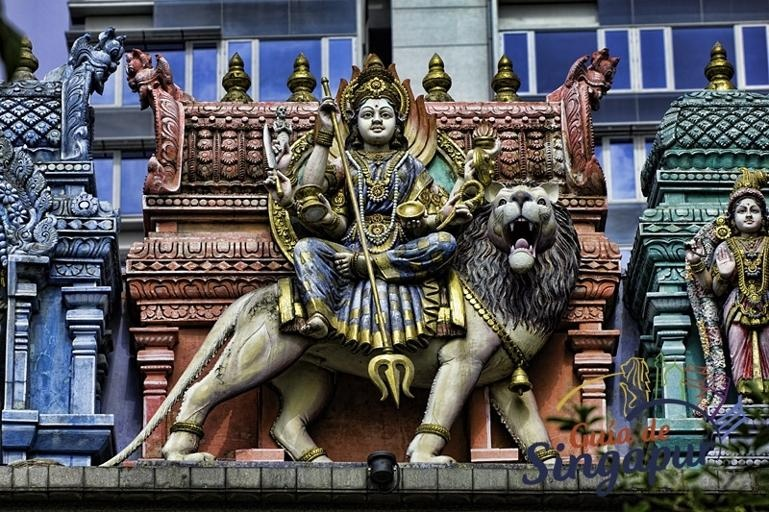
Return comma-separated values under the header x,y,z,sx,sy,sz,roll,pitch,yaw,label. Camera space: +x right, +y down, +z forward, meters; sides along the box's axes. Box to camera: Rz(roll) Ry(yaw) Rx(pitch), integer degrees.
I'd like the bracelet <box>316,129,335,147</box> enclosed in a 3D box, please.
x,y,z,sx,sy,sz,roll,pitch,yaw,label
-0.813,-1.589,36.215,0.269,0.168,0.243,3,-9,-3,bracelet
